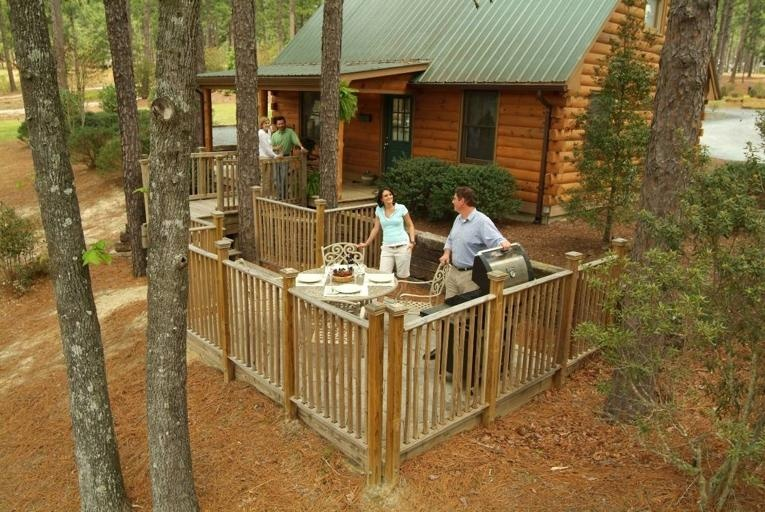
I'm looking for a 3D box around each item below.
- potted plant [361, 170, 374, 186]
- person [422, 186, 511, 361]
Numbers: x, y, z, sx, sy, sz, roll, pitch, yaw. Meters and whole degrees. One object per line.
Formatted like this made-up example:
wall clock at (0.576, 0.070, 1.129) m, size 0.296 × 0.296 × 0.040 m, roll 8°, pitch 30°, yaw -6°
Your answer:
potted plant at (-0.565, -2.682, 20.016) m, size 0.436 × 0.531 × 0.454 m, roll -7°, pitch 19°, yaw -23°
person at (1.372, -0.157, 9.635) m, size 0.825 × 1.836 × 1.308 m, roll -8°, pitch 21°, yaw -27°
